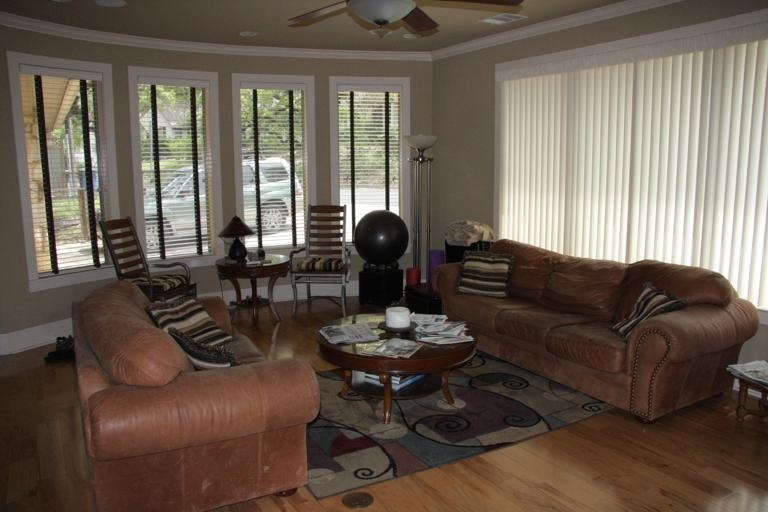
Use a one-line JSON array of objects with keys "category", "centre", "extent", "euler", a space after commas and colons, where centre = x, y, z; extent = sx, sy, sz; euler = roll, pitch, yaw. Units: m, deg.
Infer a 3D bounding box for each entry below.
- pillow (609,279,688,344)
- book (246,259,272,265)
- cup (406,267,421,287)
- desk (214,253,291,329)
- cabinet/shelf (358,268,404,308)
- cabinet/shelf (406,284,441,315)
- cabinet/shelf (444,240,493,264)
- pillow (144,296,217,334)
[{"category": "pillow", "centre": [2.305, 0.486, 4.788], "extent": [0.612, 0.404, 0.413], "euler": [-8, 14, -26]}, {"category": "book", "centre": [-1.493, 0.071, 6.576], "extent": [0.300, 0.017, 0.293], "euler": [-3, 11, -10]}, {"category": "cup", "centre": [0.373, 0.254, 7.039], "extent": [0.272, 0.213, 0.227], "euler": [0, 1, -2]}, {"category": "desk", "centre": [-1.610, 0.416, 6.945], "extent": [1.144, 0.730, 1.001], "euler": [0, 3, -9]}, {"category": "cabinet/shelf", "centre": [-0.042, 0.400, 7.252], "extent": [0.599, 0.530, 0.337], "euler": [-3, 14, -3]}, {"category": "cabinet/shelf", "centre": [0.450, 0.506, 6.438], "extent": [0.376, 0.174, 0.464], "euler": [-2, 6, -21]}, {"category": "cabinet/shelf", "centre": [0.995, -0.083, 6.700], "extent": [0.359, 0.375, 0.473], "euler": [-10, 14, -44]}, {"category": "pillow", "centre": [-1.659, 0.476, 4.471], "extent": [0.359, 0.083, 0.344], "euler": [4, 29, -48]}]
